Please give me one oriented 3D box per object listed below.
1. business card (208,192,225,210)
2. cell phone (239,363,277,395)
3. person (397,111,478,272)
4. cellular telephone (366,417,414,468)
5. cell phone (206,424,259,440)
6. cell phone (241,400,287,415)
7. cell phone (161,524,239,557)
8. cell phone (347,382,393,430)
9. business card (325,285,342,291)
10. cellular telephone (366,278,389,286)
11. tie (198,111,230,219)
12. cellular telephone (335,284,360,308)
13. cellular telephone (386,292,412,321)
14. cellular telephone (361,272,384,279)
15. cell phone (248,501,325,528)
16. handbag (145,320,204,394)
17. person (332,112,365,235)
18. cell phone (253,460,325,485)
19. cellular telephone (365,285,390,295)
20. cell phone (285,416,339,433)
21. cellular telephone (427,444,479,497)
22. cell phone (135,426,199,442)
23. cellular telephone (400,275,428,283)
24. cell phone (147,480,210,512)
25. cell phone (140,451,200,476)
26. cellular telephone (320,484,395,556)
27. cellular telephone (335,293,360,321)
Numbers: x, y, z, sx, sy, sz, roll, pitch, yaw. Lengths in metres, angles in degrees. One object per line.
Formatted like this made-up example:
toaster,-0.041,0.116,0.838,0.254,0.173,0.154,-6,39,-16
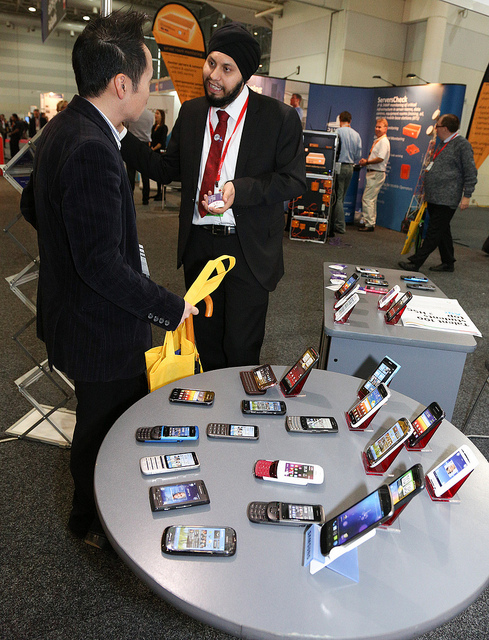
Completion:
business card,-0.097,-0.422,1.551,0.028,0.037,0.087,-4,22,-16
cell phone,0.041,0.165,1.230,0.057,0.033,0.089,10,23,-15
person,2.378,-1.396,5.243,0.623,1.827,1.299,16,33,19
cellular telephone,0.302,0.256,0.919,0.013,0.123,0.072,45,9,-4
cell phone,-0.025,0.251,1.004,0.096,0.015,0.048,3,25,-1
cell phone,0.051,0.218,1.108,0.093,0.017,0.047,2,25,-6
cell phone,-0.069,0.342,0.694,0.077,0.015,0.049,2,16,1
cell phone,0.317,0.218,1.104,0.012,0.119,0.070,34,16,-17
business card,0.443,-0.162,2.179,0.055,0.009,0.110,11,22,39
cellular telephone,0.710,-0.204,2.350,0.078,0.015,0.051,5,20,-15
tie,-0.119,-0.615,1.712,0.087,0.347,0.018,13,6,18
cellular telephone,0.445,-0.103,1.898,0.017,0.089,0.167,46,58,-9
cellular telephone,0.626,-0.057,1.787,0.073,0.118,0.089,16,33,17
cellular telephone,0.719,-0.248,2.448,0.084,0.020,0.053,5,26,-1
cell phone,0.074,0.330,0.755,0.115,0.026,0.052,2,18,-2
handbag,-0.205,0.110,1.300,0.070,0.247,0.156,29,45,35
person,1.555,-2.315,6.957,0.422,1.666,1.130,11,32,11
cell phone,0.092,0.291,0.862,0.124,0.021,0.057,4,16,4
cellular telephone,0.676,-0.156,2.240,0.087,0.024,0.054,7,23,5
cell phone,0.168,0.238,1.055,0.104,0.023,0.051,2,29,1
cellular telephone,0.401,0.285,0.850,0.064,0.089,0.082,8,32,5
cell phone,-0.169,0.248,0.968,0.104,0.019,0.054,2,20,-4
cellular telephone,0.961,-0.234,2.466,0.111,0.024,0.062,11,26,2
cell phone,-0.118,0.311,0.793,0.076,0.017,0.047,-4,29,-20
cell phone,-0.147,0.282,0.875,0.091,0.017,0.048,-4,26,-17
cellular telephone,0.182,0.321,0.701,0.014,0.134,0.077,47,8,-22
cellular telephone,0.427,-0.051,1.811,0.012,0.118,0.067,33,42,-4
